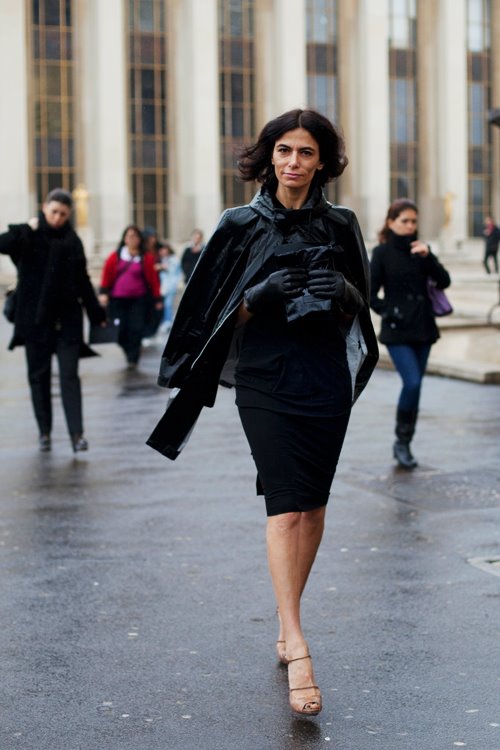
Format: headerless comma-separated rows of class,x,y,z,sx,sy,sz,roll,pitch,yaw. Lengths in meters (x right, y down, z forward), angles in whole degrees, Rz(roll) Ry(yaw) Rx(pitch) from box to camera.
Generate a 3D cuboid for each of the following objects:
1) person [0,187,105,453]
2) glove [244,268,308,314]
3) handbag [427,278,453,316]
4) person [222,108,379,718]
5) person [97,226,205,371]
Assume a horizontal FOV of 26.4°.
person,-1.477,-0.397,7.891,0.621,1.884,0.607,-1,10,-4
glove,0.086,-0.250,3.225,0.196,0.130,0.133,-1,9,-5
handbag,1.296,-0.514,7.390,0.165,0.232,0.067,-14,-19,-38
person,0.165,0.058,3.309,0.462,1.750,0.860,1,10,7
person,-1.619,-1.028,14.074,0.745,1.830,0.963,0,10,1
